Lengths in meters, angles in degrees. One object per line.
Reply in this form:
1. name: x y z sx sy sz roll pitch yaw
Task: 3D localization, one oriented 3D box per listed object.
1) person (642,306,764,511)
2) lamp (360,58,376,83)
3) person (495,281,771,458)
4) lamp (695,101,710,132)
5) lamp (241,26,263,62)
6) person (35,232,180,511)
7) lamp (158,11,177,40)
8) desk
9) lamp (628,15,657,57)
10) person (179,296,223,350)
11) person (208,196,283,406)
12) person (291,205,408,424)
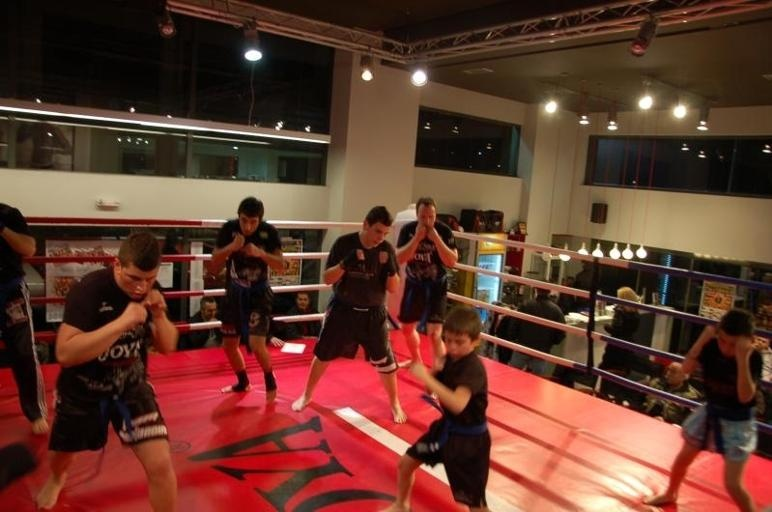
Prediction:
1. person: 2.363 1.148 3.824 0.631 1.546 0.246 10 11 31
2. lamp: -0.265 -2.668 7.590 0.168 0.316 0.460 3 10 -3
3. person: 2.637 1.190 5.750 1.922 0.457 0.350 22 -17 43
4. lamp: 5.927 -2.592 9.977 0.212 0.495 0.430 10 11 31
5. lamp: -1.716 -2.735 6.914 0.214 0.375 0.504 1 10 -16
6. person: -1.769 0.801 3.431 0.989 1.926 0.558 3 9 -5
7. lamp: -2.593 -2.764 6.340 0.172 0.290 0.246 -1 11 -27
8. desk: 3.427 1.172 7.917 1.404 1.343 0.958 5 -8 5
9. lamp: 2.893 -2.471 5.982 0.214 0.443 0.313 11 12 37
10. person: -2.123 0.866 6.554 0.699 0.721 0.273 -1 -9 23
11. person: -1.246 0.374 4.803 0.632 1.810 0.436 3 9 -5
12. person: -0.233 0.490 4.693 0.966 1.876 0.349 4 9 3
